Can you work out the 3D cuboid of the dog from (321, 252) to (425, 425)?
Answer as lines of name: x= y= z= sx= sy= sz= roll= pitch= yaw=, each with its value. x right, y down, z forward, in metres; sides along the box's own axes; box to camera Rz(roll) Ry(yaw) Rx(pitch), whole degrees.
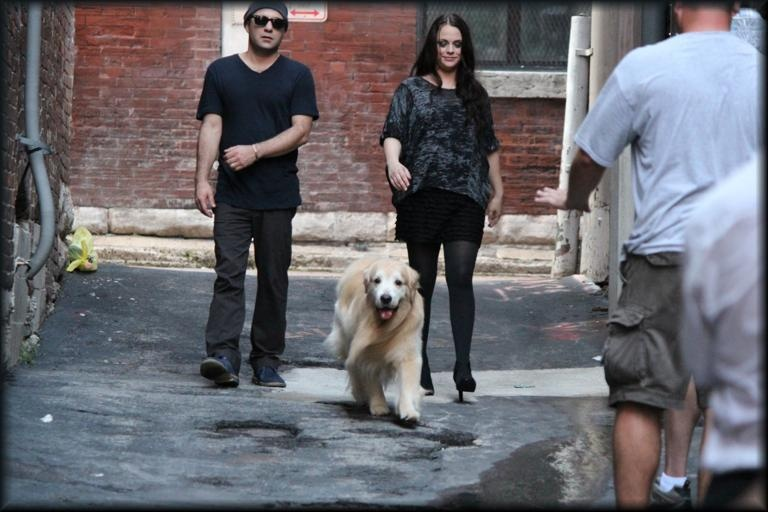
dog: x=-0.033 y=0.490 z=6.281 sx=0.632 sy=0.924 sz=1.565 roll=2 pitch=3 yaw=-9

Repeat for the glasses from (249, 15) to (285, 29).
glasses: x=-0.725 y=-1.515 z=6.145 sx=0.242 sy=0.080 sz=0.069 roll=0 pitch=12 yaw=-26

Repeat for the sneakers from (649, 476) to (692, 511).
sneakers: x=1.350 y=1.132 z=4.471 sx=0.186 sy=0.161 sz=0.111 roll=-3 pitch=-5 yaw=12

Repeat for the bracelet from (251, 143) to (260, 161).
bracelet: x=-0.811 y=-0.666 z=6.040 sx=0.031 sy=0.079 sz=0.071 roll=-19 pitch=-10 yaw=-19

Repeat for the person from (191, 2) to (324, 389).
person: x=-0.839 y=-0.235 z=6.093 sx=0.769 sy=2.072 sz=0.724 roll=3 pitch=11 yaw=-10

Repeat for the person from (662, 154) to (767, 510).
person: x=1.119 y=0.267 z=3.060 sx=0.191 sy=1.142 sz=0.320 roll=-1 pitch=12 yaw=-28

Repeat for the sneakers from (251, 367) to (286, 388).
sneakers: x=-0.736 y=0.788 z=6.127 sx=0.105 sy=0.088 sz=0.243 roll=1 pitch=-2 yaw=-40

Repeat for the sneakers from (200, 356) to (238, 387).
sneakers: x=-1.017 y=0.719 z=5.915 sx=0.225 sy=0.192 sz=0.161 roll=5 pitch=11 yaw=2

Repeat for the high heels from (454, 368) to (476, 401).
high heels: x=0.490 y=0.802 z=5.945 sx=0.104 sy=0.137 sz=0.275 roll=-1 pitch=-14 yaw=-7
